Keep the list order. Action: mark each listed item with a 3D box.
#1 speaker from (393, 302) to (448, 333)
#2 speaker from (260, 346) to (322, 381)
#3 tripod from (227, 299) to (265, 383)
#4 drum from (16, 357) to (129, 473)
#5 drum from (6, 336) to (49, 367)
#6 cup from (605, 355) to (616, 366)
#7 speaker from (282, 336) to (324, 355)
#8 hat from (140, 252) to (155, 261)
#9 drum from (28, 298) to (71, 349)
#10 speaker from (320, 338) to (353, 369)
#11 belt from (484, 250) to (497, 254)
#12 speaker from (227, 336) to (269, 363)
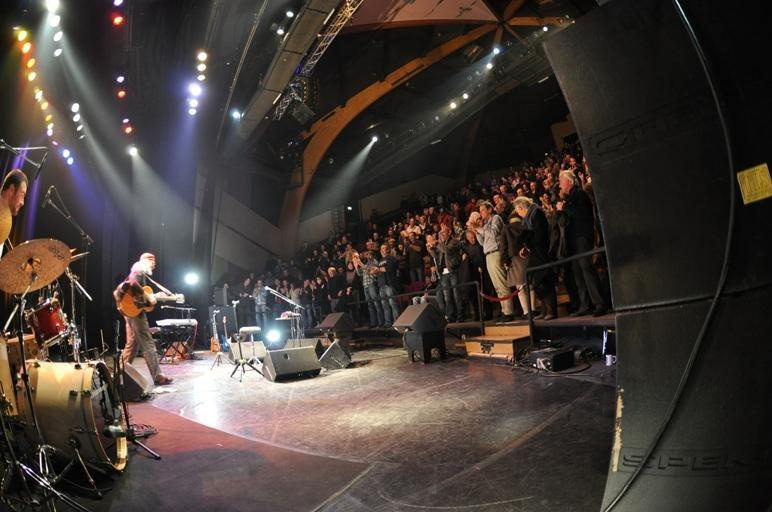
[{"bbox_3d":[0.550,0.981,7.425,0.524,0.358,0.594,-19,1,-35],"label":"speaker"},{"bbox_3d":[-1.432,1.618,7.067,0.750,0.450,0.634,3,-12,-30],"label":"speaker"},{"bbox_3d":[-2.908,1.721,9.904,0.746,1.531,0.971,-2,-23,-15],"label":"tripod"},{"bbox_3d":[-2.414,1.103,3.793,0.586,0.789,0.755,3,15,4],"label":"drum"},{"bbox_3d":[-2.949,0.784,3.909,0.164,0.322,0.309,-8,6,-11],"label":"drum"},{"bbox_3d":[2.645,1.234,5.649,0.092,0.107,0.186,-3,3,22],"label":"cup"},{"bbox_3d":[-1.396,1.547,8.444,0.446,0.251,0.457,-30,-15,15],"label":"speaker"},{"bbox_3d":[-4.020,0.003,8.006,0.236,0.077,0.235,-6,4,-40],"label":"hat"},{"bbox_3d":[-3.162,0.655,4.507,0.333,0.343,0.336,-28,-4,1],"label":"drum"},{"bbox_3d":[-0.803,1.614,7.765,0.395,0.441,0.465,19,-14,-8],"label":"speaker"},{"bbox_3d":[1.705,-0.061,7.833,0.045,0.074,0.263,-7,4,-39],"label":"belt"},{"bbox_3d":[-2.320,1.641,7.991,0.540,0.263,0.646,-6,3,-19],"label":"speaker"}]
